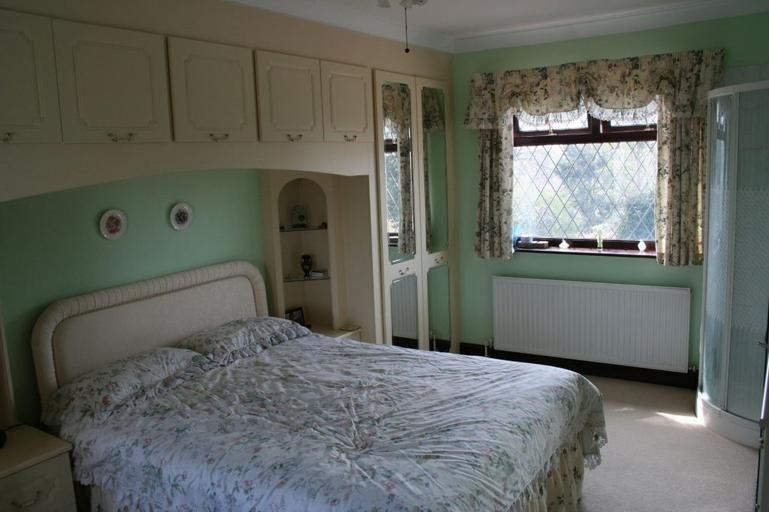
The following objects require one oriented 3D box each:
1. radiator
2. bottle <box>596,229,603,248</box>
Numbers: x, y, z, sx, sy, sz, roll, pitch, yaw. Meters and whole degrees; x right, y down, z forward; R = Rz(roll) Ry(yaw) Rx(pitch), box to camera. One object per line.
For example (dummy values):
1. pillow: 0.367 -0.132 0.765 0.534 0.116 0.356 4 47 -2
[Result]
1. radiator: 2.303 0.699 5.741 1.838 0.914 0.063 5 4 6
2. bottle: 2.354 -0.206 5.857 0.079 0.234 0.110 2 9 25
